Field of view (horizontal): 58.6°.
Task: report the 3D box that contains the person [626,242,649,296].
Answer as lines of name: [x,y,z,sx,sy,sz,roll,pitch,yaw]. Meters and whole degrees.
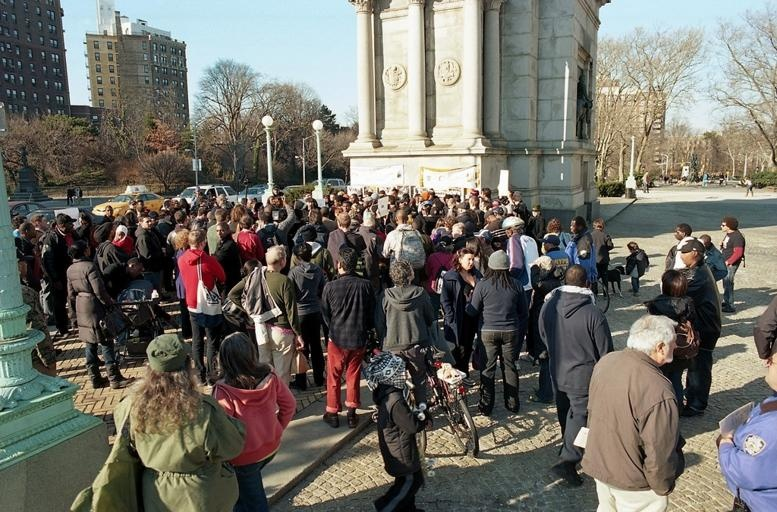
person: [6.077,0.260,17.086,0.489,1.300,1.186,0,8,20]

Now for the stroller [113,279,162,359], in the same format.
stroller: [-4.653,1.267,12.898,0.758,1.508,1.331,-6,6,-4]

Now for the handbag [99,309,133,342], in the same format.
handbag: [-4.807,1.195,12.074,0.260,0.598,0.591,3,6,41]

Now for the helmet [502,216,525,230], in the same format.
helmet: [2.440,-0.657,13.671,0.374,0.220,0.275,4,0,-16]

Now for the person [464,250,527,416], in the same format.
person: [1.775,1.274,11.415,0.965,2.704,0.481,-2,8,4]

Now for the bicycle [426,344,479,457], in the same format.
bicycle: [0.939,2.230,10.639,0.817,1.690,0.534,0,8,22]

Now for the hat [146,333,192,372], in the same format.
hat: [-2.650,1.167,8.250,0.395,0.289,0.463,-5,17,-18]

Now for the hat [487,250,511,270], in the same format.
hat: [1.774,0.077,11.312,0.325,0.305,0.205,-2,8,7]

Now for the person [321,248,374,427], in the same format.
person: [-0.679,1.312,11.035,0.941,2.812,0.477,-4,8,-4]

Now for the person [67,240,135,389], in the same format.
person: [-5.120,1.042,12.056,0.832,2.630,0.574,2,9,34]

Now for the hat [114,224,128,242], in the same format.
hat: [-5.554,-0.475,14.210,0.319,0.307,0.301,-4,7,-5]

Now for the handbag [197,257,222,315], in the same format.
handbag: [-3.189,0.579,12.058,0.403,1.059,0.439,-4,2,16]

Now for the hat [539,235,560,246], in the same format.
hat: [3.109,-0.318,13.291,0.286,0.164,0.214,6,7,16]

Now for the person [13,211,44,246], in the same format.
person: [-7.565,-0.538,14.500,0.557,0.610,1.240,-7,8,-26]
